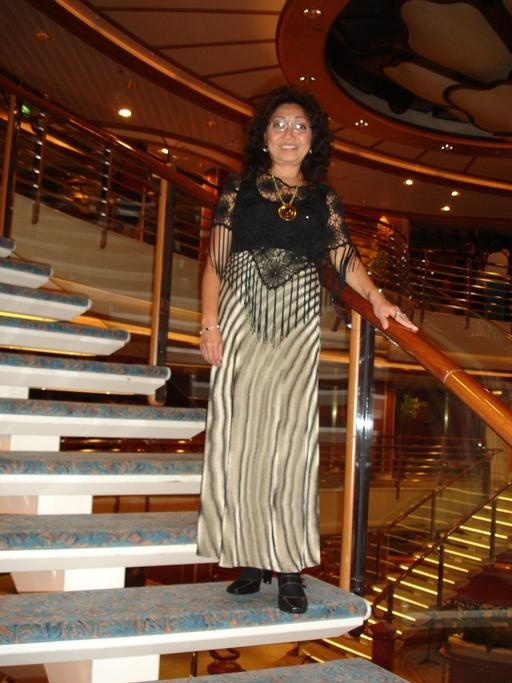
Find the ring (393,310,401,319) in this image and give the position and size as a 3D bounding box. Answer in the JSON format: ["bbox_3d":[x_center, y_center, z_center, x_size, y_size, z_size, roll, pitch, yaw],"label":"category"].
[{"bbox_3d":[0.336,-0.063,1.348,0.007,0.015,0.021,26,3,-10],"label":"ring"}]

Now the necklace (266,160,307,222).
[{"bbox_3d":[0.076,-0.371,1.475,0.077,0.133,0.009,4,-31,-5],"label":"necklace"}]

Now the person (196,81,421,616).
[{"bbox_3d":[0.110,-0.061,1.444,0.393,1.054,0.424,8,-3,-38],"label":"person"}]

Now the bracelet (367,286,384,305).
[{"bbox_3d":[0.301,-0.118,1.451,0.035,0.019,0.054,4,24,22],"label":"bracelet"}]
